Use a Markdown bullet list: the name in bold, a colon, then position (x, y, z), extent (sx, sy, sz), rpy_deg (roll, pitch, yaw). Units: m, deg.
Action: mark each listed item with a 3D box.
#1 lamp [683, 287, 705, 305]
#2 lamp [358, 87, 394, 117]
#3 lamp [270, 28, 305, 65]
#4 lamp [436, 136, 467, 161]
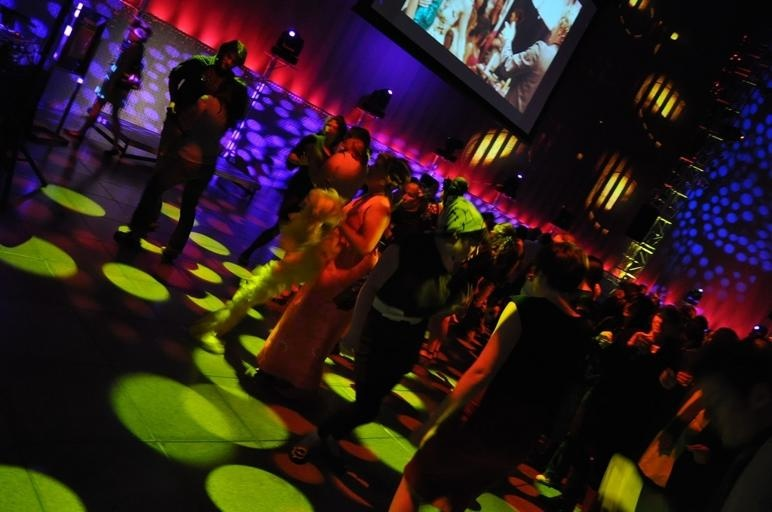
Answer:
- **lamp**: position (4.772, 0.625, 8.172), extent (0.156, 0.295, 0.167), rpy_deg (18, -5, 37)
- **lamp**: position (-0.145, -2.287, 7.836), extent (0.344, 0.201, 0.546), rpy_deg (24, 10, -16)
- **lamp**: position (-1.390, -2.923, 7.330), extent (0.448, 0.440, 0.257), rpy_deg (29, 16, -5)
- **lamp**: position (1.060, -1.815, 8.802), extent (0.360, 0.340, 0.204), rpy_deg (28, 15, -9)
